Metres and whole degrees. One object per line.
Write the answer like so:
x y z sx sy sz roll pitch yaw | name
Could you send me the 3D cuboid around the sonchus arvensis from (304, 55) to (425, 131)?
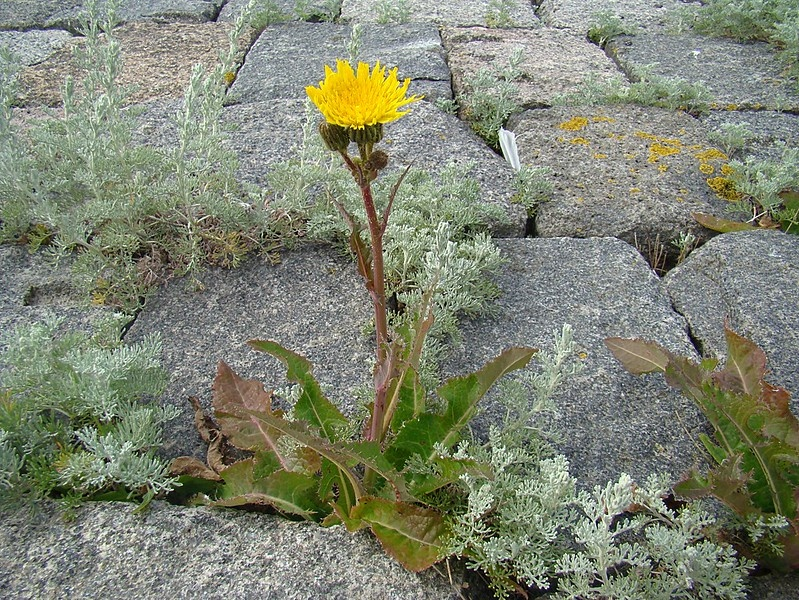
-0.108 -0.625 2.050 0.320 0.258 0.290 -1 47 1 | sonchus arvensis
